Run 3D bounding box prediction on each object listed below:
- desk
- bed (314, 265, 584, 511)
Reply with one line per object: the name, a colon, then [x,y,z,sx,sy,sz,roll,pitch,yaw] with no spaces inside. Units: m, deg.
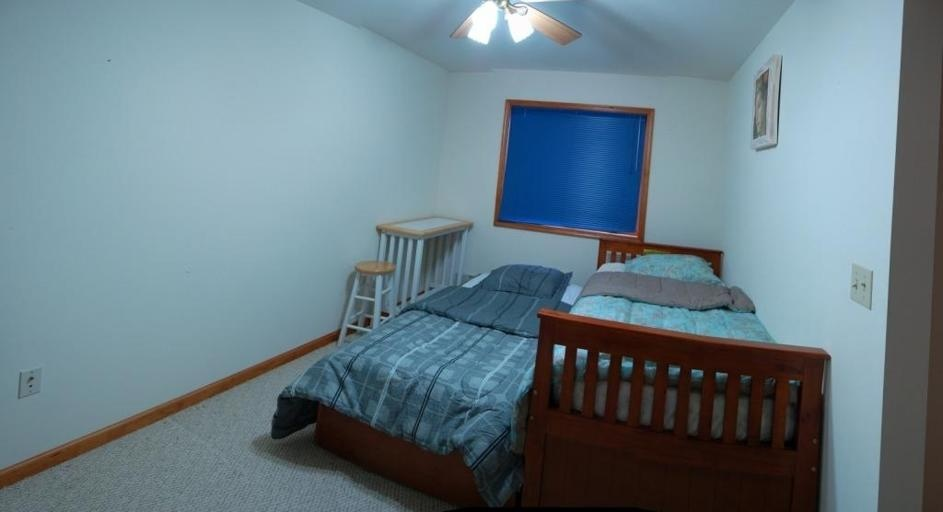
desk: [-0.490,0.106,5.579,0.423,0.848,0.993,8,11,31]
bed: [0.082,0.872,4.527,1.141,0.604,2.005,8,20,22]
